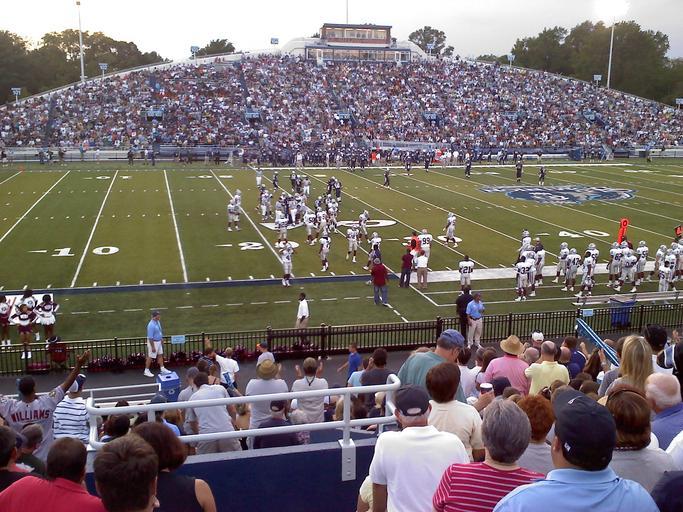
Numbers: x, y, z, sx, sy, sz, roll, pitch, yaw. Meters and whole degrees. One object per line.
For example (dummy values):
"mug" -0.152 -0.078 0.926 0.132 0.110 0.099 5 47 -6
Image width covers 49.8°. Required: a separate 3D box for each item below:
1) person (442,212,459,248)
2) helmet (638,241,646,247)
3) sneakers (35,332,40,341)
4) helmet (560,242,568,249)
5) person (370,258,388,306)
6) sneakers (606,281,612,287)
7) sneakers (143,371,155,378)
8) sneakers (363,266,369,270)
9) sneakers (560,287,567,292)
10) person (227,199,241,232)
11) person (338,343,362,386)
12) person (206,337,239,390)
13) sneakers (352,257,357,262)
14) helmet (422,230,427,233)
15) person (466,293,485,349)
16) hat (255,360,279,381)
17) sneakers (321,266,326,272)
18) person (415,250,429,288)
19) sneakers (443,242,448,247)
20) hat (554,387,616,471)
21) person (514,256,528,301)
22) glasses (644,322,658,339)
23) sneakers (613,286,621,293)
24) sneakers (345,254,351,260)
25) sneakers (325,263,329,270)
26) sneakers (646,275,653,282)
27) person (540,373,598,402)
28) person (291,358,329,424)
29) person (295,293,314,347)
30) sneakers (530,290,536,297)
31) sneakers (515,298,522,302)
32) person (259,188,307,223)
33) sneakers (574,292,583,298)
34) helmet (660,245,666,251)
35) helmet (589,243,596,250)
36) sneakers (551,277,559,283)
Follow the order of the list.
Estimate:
"person" 3.482 -0.925 23.207 0.408 1.002 1.610 3 14 8
"helmet" 8.249 -0.324 20.117 0.197 0.168 0.290 -2 1 12
"sneakers" -6.062 1.616 14.690 0.076 0.142 0.208 -1 0 -44
"helmet" 6.086 -0.287 20.018 0.152 0.115 0.154 4 -38 -22
"person" 0.897 0.592 17.024 0.391 0.995 0.735 2 14 3
"sneakers" 7.022 0.759 19.275 0.171 0.071 0.174 -16 -33 17
"sneakers" -3.306 2.029 12.609 0.171 0.117 0.082 4 9 10
"sneakers" 0.683 0.344 20.123 0.063 0.074 0.172 0 13 -8
"sneakers" 5.718 0.859 18.823 0.065 0.114 0.166 -3 9 -32
"person" -3.646 -1.459 24.850 0.412 1.080 1.360 -1 14 -9
"person" 0.173 1.741 10.988 0.254 0.931 0.311 -12 23 -25
"person" -1.718 1.766 10.692 0.405 1.174 0.266 0 36 -13
"sneakers" 0.375 0.108 21.134 0.083 0.161 0.152 4 22 8
"helmet" 2.401 -0.703 21.172 0.178 0.098 0.245 0 7 8
"person" 2.556 1.220 14.068 0.330 1.161 0.665 3 14 10
"hat" -0.794 1.186 7.887 0.196 0.081 0.231 -2 30 -3
"sneakers" -0.456 0.313 19.835 0.153 0.137 0.371 0 14 -4
"person" 2.019 0.402 18.328 0.246 0.788 0.392 1 14 2
"sneakers" 3.281 -0.362 23.083 0.142 0.284 0.426 -2 1 11
"hat" 1.435 1.012 4.382 0.303 0.250 0.451 2 46 8
"person" 4.352 0.593 17.623 0.258 0.957 0.570 5 14 17
"glasses" 2.943 0.698 6.898 0.111 0.147 0.146 3 21 11
"sneakers" 7.104 0.855 18.834 0.106 0.162 0.229 5 17 5
"sneakers" 0.200 0.033 21.328 0.148 0.204 0.476 0 -3 3
"sneakers" -0.367 0.292 19.959 0.078 0.160 0.164 0 -37 -9
"sneakers" 8.461 0.627 20.159 0.153 0.149 0.072 18 -25 12
"person" 2.299 1.264 7.219 0.455 0.254 0.724 0 -3 -3
"person" -0.343 1.667 8.353 0.429 1.049 0.587 -1 9 2
"person" -0.735 1.311 14.694 0.396 1.628 0.627 0 11 -2
"sneakers" 4.772 0.950 18.297 0.214 0.152 0.098 4 6 40
"sneakers" 4.273 1.052 17.625 0.160 0.111 0.063 5 7 30
"person" -2.197 -1.706 25.953 2.112 1.119 1.026 13 16 43
"sneakers" 5.841 0.960 18.070 0.081 0.149 0.190 -12 20 -43
"helmet" 8.364 -0.203 19.074 0.124 0.169 0.166 -10 10 -33
"helmet" 6.473 -0.237 18.920 0.181 0.191 0.167 -1 8 -9
"sneakers" 5.724 0.641 19.572 0.103 0.198 0.211 5 12 -20
